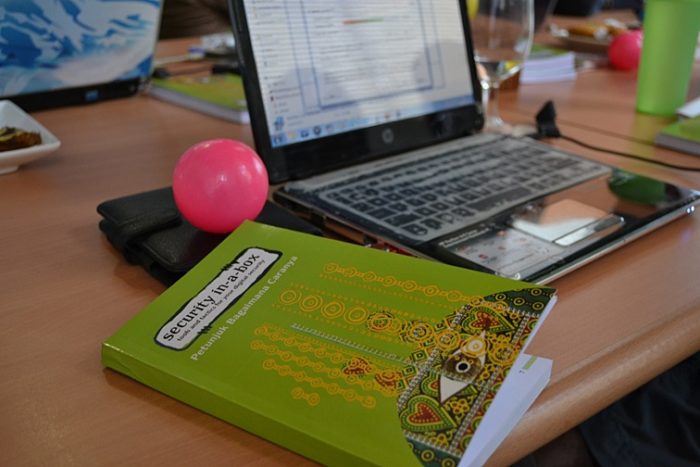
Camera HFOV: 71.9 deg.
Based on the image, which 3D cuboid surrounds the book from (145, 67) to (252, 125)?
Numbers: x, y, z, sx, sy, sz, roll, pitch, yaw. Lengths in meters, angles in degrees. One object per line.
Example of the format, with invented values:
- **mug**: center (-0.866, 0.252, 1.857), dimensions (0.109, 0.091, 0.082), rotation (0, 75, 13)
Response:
- **book**: center (-0.328, -0.307, 1.067), dimensions (0.222, 0.039, 0.204), rotation (22, 30, 33)
